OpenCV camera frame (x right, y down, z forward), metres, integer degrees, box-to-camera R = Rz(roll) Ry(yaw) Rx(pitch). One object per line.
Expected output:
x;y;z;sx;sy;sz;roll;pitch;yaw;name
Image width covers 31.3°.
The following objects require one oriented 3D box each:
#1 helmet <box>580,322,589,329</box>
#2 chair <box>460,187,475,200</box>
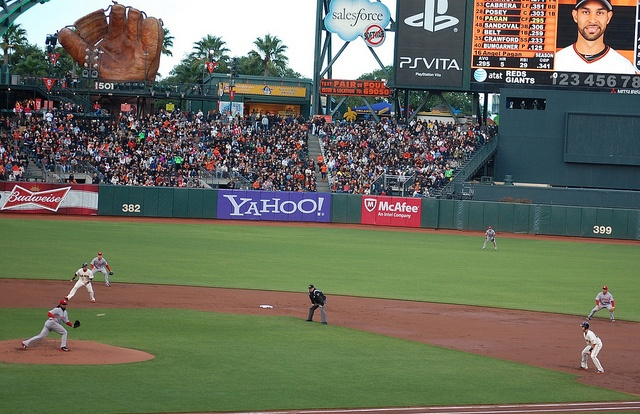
16.006;7.118;68.838;0.551;0.491;0.432;5;-7;14;helmet
13.364;-1.290;103.137;0.914;1.203;1.547;3;-8;-2;chair
